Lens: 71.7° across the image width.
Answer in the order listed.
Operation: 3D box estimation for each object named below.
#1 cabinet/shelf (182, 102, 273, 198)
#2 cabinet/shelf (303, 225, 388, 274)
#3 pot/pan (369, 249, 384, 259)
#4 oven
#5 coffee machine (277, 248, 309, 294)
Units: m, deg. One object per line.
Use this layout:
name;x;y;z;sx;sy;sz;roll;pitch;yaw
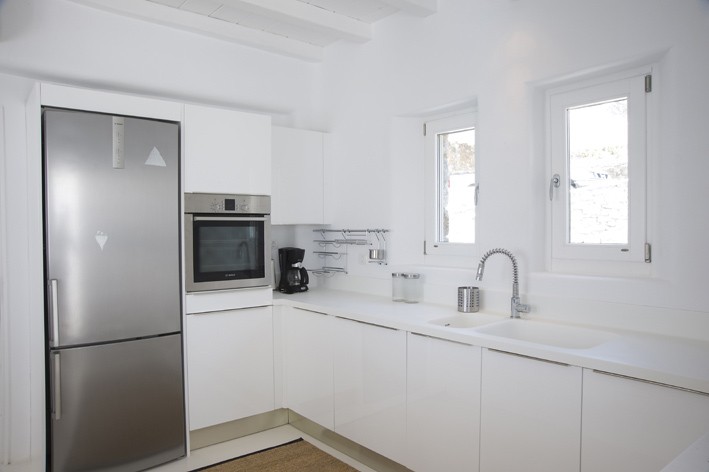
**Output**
cabinet/shelf;-1.082;-0.705;4.097;0.755;0.653;0.245;-1;7;-35
cabinet/shelf;-0.036;0.123;4.697;0.736;0.400;0.168;3;8;21
pot/pan;0.208;0.161;4.352;0.119;0.092;0.091;2;2;24
oven;-1.139;0.050;4.208;0.716;0.836;0.559;-1;-3;-30
coffee machine;-0.591;0.316;4.641;0.271;0.417;0.296;-1;-3;-28
